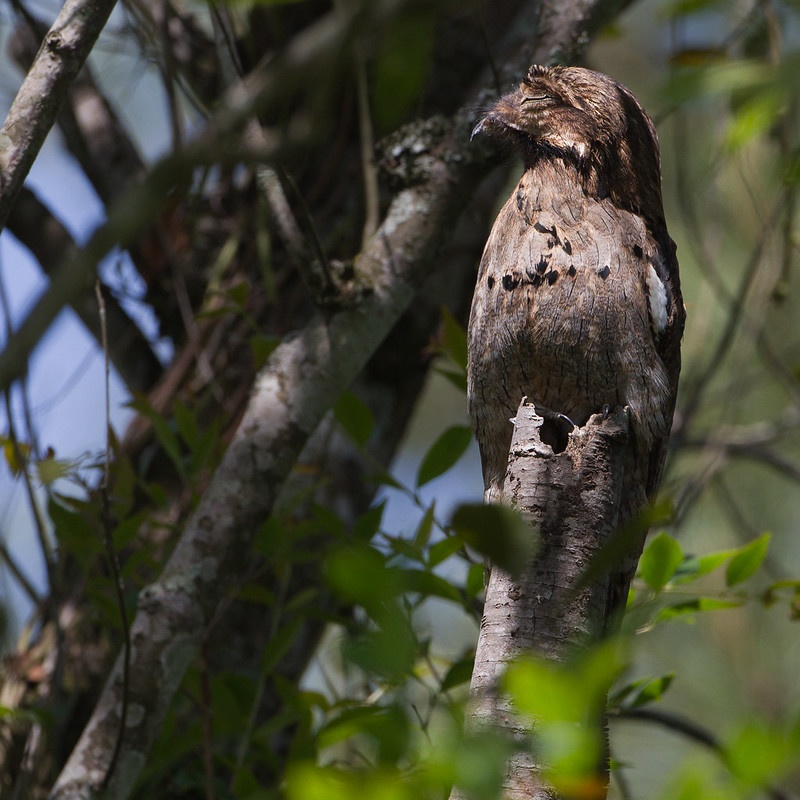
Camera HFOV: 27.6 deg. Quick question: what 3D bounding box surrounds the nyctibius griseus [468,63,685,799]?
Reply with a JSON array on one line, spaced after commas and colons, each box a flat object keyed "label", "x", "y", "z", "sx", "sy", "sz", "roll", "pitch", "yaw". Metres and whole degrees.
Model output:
[{"label": "nyctibius griseus", "x": 0.337, "y": -0.221, "z": 3.118, "sx": 0.413, "sy": 0.840, "sz": 0.494, "roll": -1, "pitch": -41, "yaw": 10}]
